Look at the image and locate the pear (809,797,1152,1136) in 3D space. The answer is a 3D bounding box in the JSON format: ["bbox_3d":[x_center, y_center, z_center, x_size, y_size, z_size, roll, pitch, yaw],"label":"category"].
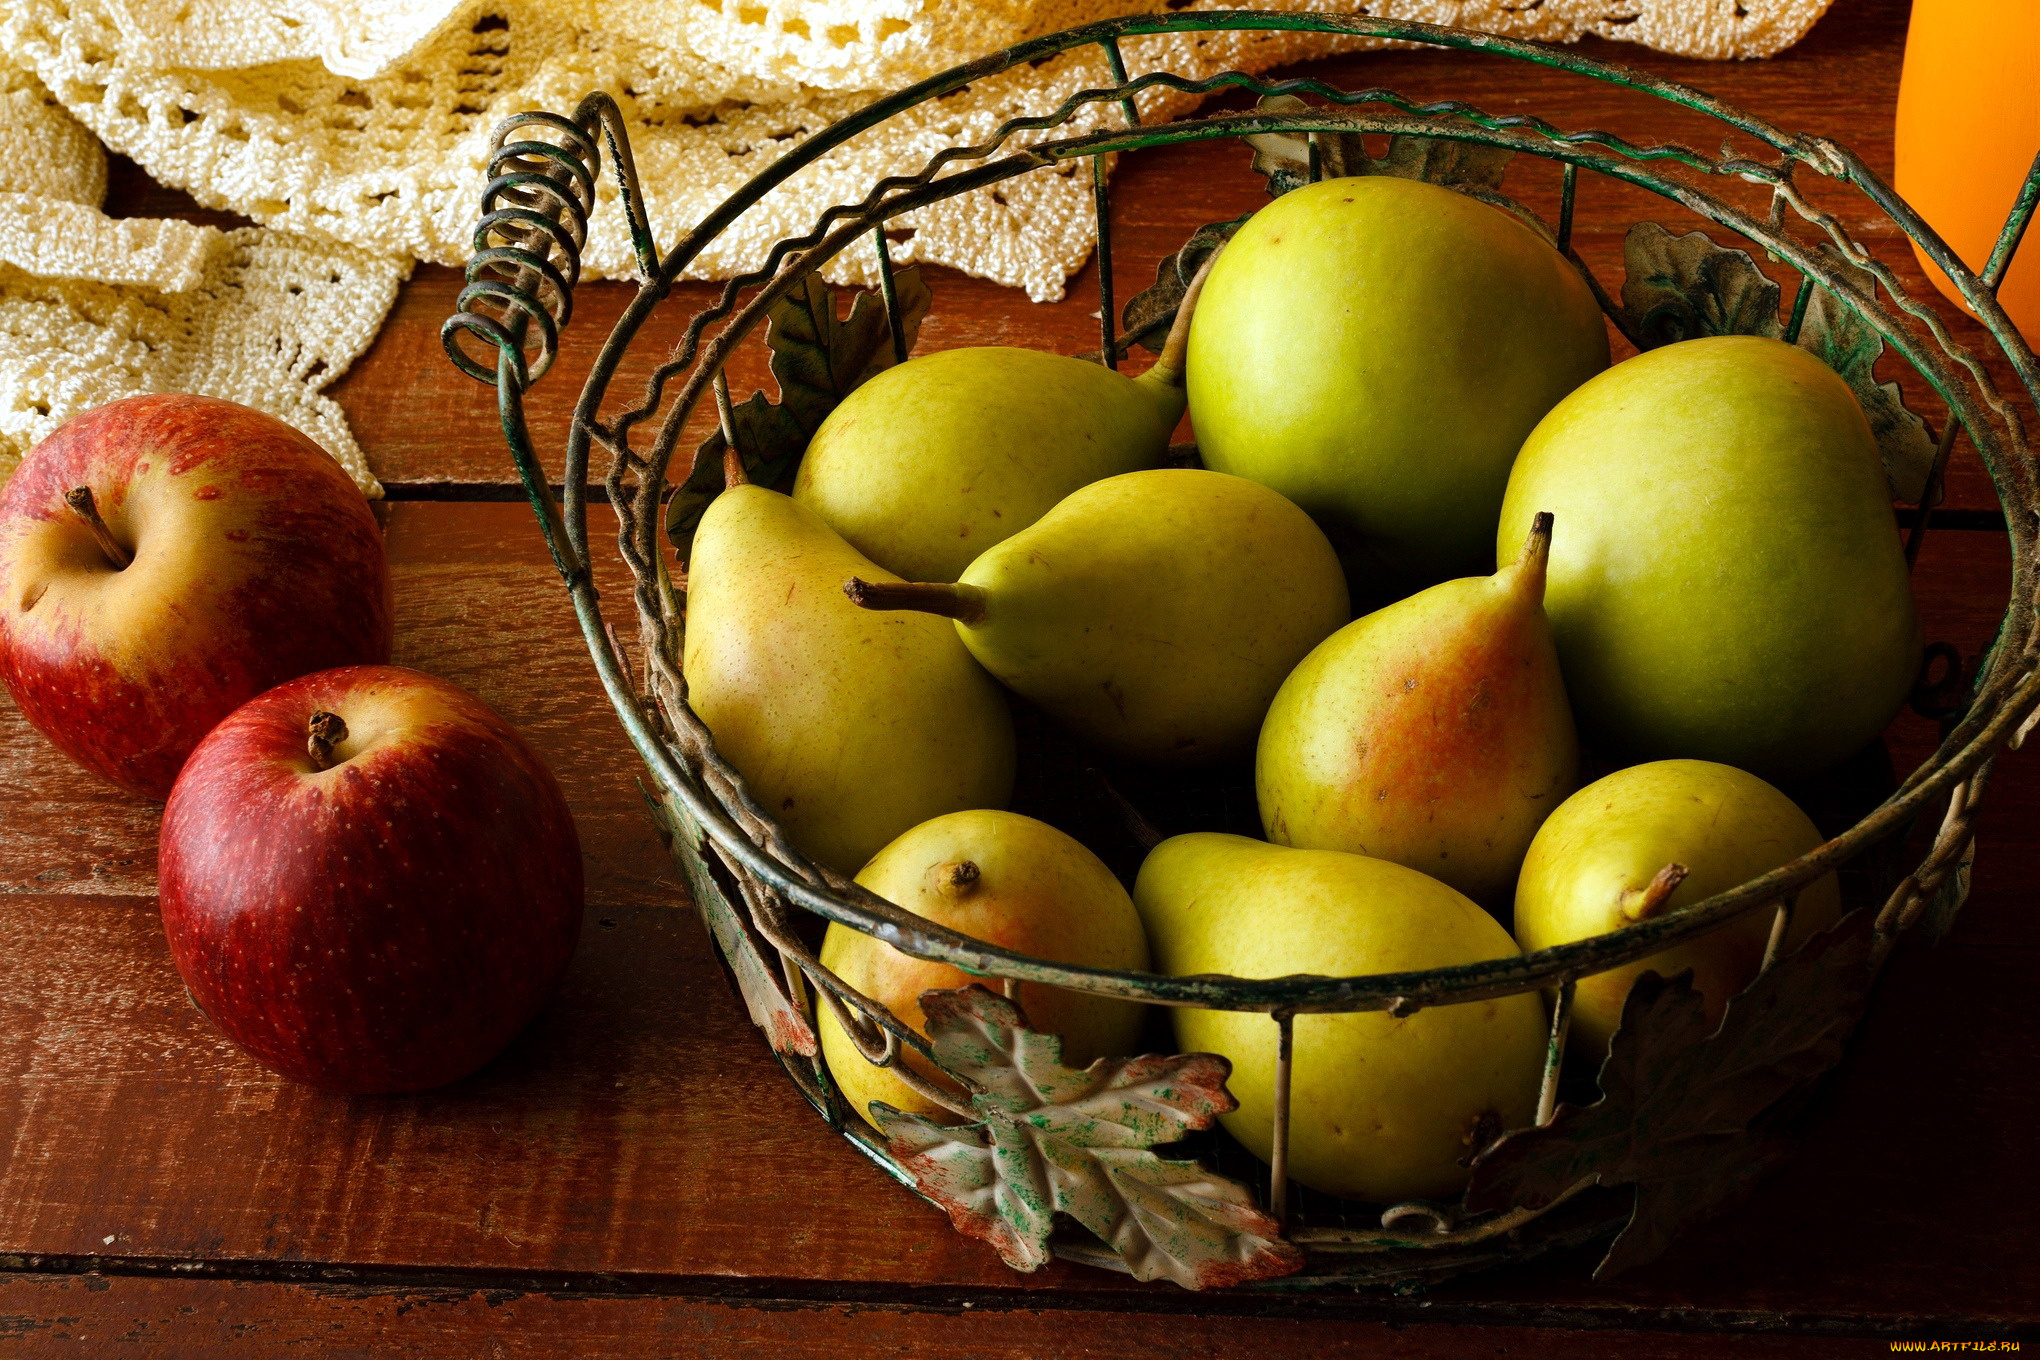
[{"bbox_3d":[-0.013,0.099,0.792,0.103,0.098,0.100,-12,81,-3],"label":"pear"}]

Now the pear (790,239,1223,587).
[{"bbox_3d":[-0.009,-0.090,0.829,0.146,0.070,0.070,-19,13,-24],"label":"pear"}]

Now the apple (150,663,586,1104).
[{"bbox_3d":[-0.238,0.068,0.873,0.144,0.143,0.142,-28,61,-31],"label":"apple"}]

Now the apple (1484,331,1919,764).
[{"bbox_3d":[0.260,-0.028,0.830,0.131,0.148,0.135,-1,73,40],"label":"apple"}]

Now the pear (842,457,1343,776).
[{"bbox_3d":[0.030,-0.020,0.827,0.165,0.084,0.082,1,60,-24],"label":"pear"}]

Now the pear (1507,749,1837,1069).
[{"bbox_3d":[0.208,0.057,0.739,0.096,0.100,0.118,7,5,18],"label":"pear"}]
